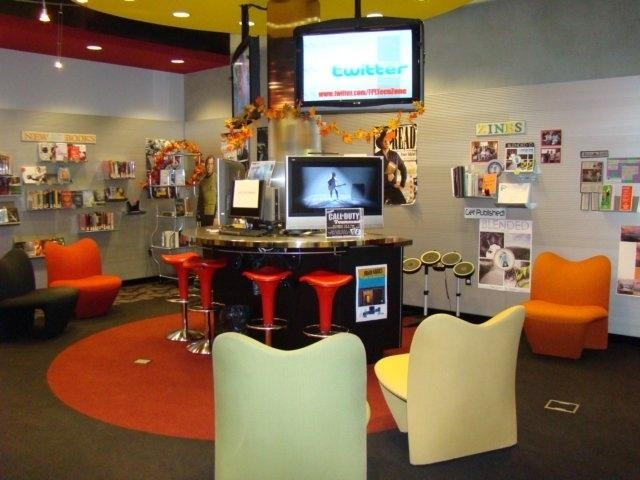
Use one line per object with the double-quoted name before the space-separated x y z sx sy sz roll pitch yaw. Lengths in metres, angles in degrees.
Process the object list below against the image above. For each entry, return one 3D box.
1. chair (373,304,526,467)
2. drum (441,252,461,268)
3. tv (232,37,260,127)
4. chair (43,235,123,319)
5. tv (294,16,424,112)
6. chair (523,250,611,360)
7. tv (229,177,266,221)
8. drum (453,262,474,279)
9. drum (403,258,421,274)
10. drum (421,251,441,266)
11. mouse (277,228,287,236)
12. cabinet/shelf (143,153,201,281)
"chair" 0.898 0.934 3.920 1.103 1.387 1.083 -7 15 -16
"drum" 1.740 0.265 6.499 0.235 0.168 0.226 0 9 0
"tv" -0.888 -1.923 5.764 0.279 0.898 0.847 -2 9 -13
"chair" -3.348 0.518 6.876 0.946 1.041 0.890 0 6 -21
"tv" 0.435 -1.796 4.995 0.973 0.720 0.131 0 2 10
"chair" 2.748 0.725 5.437 0.827 1.054 0.797 5 11 31
"tv" -0.757 -0.429 5.148 0.465 0.478 0.049 2 -3 41
"drum" 1.873 0.394 6.350 0.247 0.184 0.226 0 9 0
"drum" 1.256 0.347 6.591 0.237 0.157 0.409 2 9 11
"drum" 1.489 0.249 6.553 0.239 0.169 0.219 0 9 0
"mouse" -0.402 -0.087 5.107 0.077 0.087 0.212 -1 -1 -8
"cabinet/shelf" -2.651 -0.501 8.702 0.696 1.461 0.684 -2 13 -36
